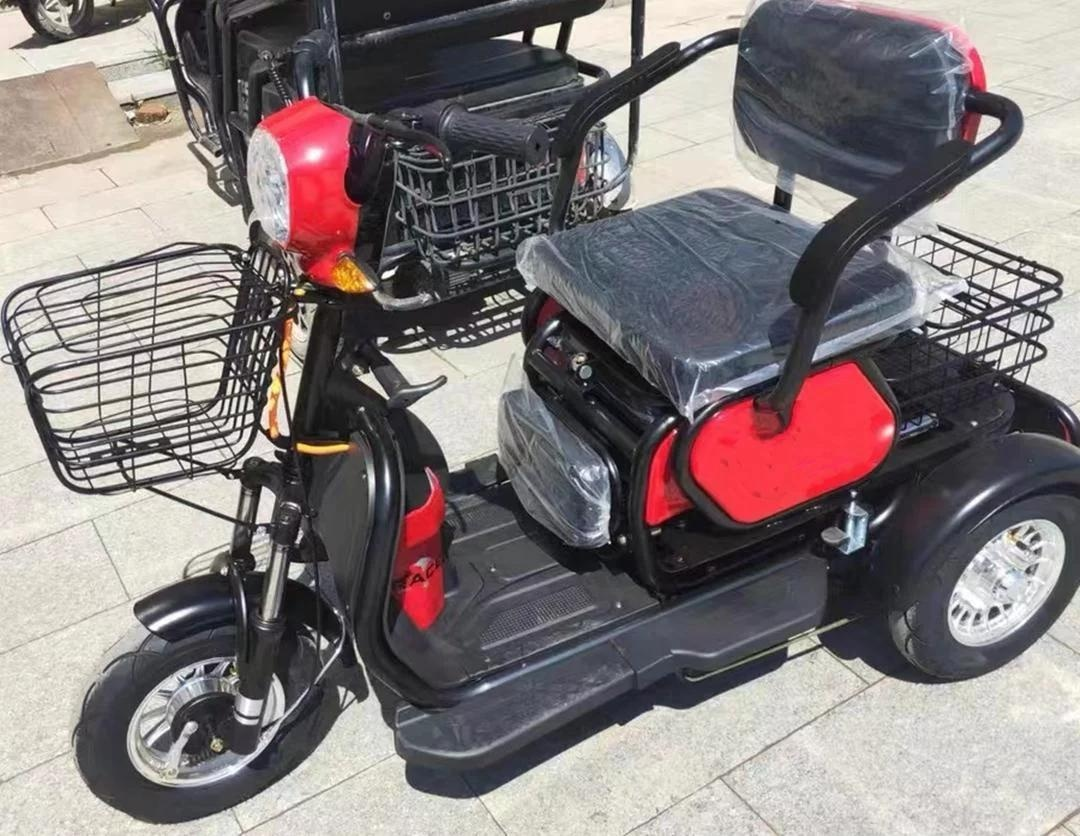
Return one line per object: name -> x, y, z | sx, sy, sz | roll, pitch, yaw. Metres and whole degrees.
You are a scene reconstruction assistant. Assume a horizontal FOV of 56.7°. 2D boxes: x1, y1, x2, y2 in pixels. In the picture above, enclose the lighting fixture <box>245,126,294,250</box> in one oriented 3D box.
lighting fixture -> -0.577, -0.488, 2.126 | 0.052, 0.224, 0.156 | -12, 11, -36
